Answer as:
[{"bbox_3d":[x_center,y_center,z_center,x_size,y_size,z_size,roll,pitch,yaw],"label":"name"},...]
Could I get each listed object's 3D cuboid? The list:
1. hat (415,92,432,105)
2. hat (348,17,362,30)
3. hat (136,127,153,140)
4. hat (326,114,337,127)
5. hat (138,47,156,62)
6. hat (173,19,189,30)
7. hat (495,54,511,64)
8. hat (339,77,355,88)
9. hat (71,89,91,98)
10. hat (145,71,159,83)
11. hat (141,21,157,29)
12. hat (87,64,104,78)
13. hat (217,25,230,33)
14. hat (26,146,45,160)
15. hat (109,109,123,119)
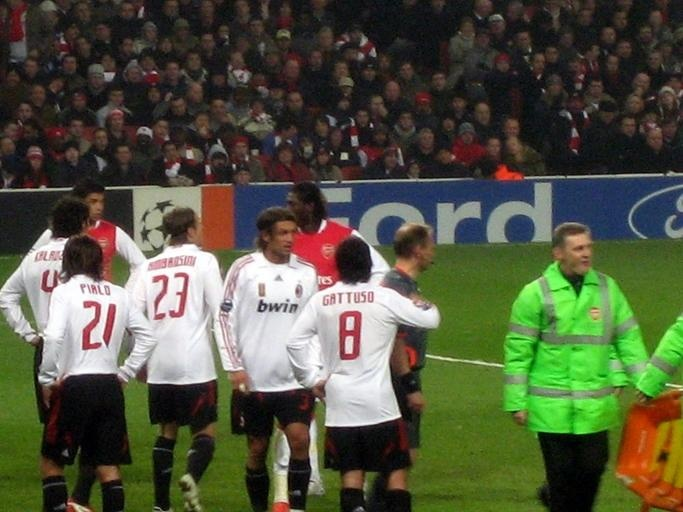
[{"bbox_3d":[1.375,-2.705,23.226,0.240,0.267,0.449,0,-3,5],"label":"hat"},{"bbox_3d":[0.236,-4.101,24.168,0.212,0.248,0.267,2,-13,-2],"label":"hat"},{"bbox_3d":[-3.214,-1.996,22.046,0.210,0.177,0.248,1,-2,-5],"label":"hat"},{"bbox_3d":[-0.214,-2.271,22.804,0.228,0.185,0.169,0,8,-4],"label":"hat"},{"bbox_3d":[-3.334,-3.436,23.074,0.291,0.241,0.269,0,-3,0],"label":"hat"},{"bbox_3d":[-2.769,-3.996,23.430,0.279,0.212,0.237,1,-3,-11],"label":"hat"},{"bbox_3d":[2.798,-3.442,23.745,0.199,0.141,0.191,0,1,-1],"label":"hat"},{"bbox_3d":[0.061,-2.970,23.323,0.188,0.103,0.182,-2,5,-38],"label":"hat"},{"bbox_3d":[-4.386,-2.702,22.697,0.267,0.202,0.261,0,-3,3],"label":"hat"},{"bbox_3d":[-3.199,-3.011,22.914,0.204,0.148,0.207,4,0,38],"label":"hat"},{"bbox_3d":[-3.318,-3.982,23.472,0.144,0.135,0.176,4,8,-11],"label":"hat"},{"bbox_3d":[-4.157,-3.119,22.879,0.262,0.193,0.259,2,12,1],"label":"hat"},{"bbox_3d":[-2.063,-3.925,23.583,0.139,0.154,0.174,-1,-1,-7],"label":"hat"},{"bbox_3d":[-4.933,-1.662,21.816,0.261,0.252,0.414,1,-3,-13],"label":"hat"},{"bbox_3d":[-3.700,-2.337,22.271,0.191,0.134,0.182,5,-7,-27],"label":"hat"}]
